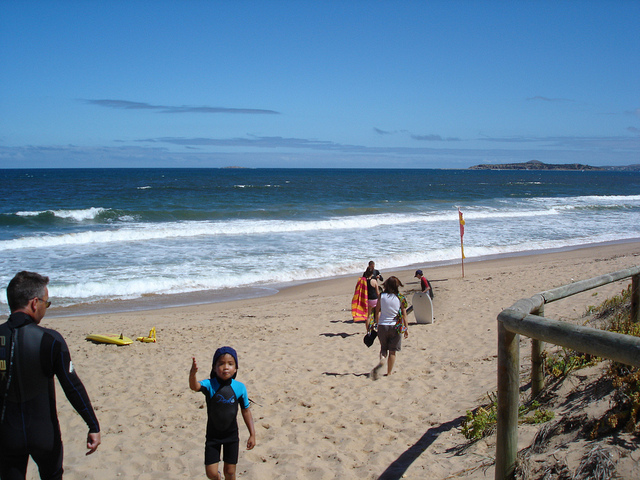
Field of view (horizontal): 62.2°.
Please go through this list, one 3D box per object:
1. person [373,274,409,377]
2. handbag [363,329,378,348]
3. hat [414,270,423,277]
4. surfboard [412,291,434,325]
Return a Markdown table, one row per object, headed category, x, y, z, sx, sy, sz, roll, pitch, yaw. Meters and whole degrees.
| category | x | y | z | sx | sy | sz | roll | pitch | yaw |
| --- | --- | --- | --- | --- | --- | --- | --- | --- | --- |
| person | 1.110 | 1.334 | 8.227 | 0.453 | 1.506 | 0.333 | -2 | 4 | 3 |
| handbag | 0.836 | 1.606 | 8.747 | 0.196 | 0.316 | 0.323 | -2 | 3 | 4 |
| hat | 2.184 | 0.738 | 11.649 | 0.164 | 0.082 | 0.249 | -5 | -3 | 19 |
| surfboard | 2.117 | 1.399 | 10.927 | 0.468 | 0.630 | 0.309 | 0 | 4 | 22 |
